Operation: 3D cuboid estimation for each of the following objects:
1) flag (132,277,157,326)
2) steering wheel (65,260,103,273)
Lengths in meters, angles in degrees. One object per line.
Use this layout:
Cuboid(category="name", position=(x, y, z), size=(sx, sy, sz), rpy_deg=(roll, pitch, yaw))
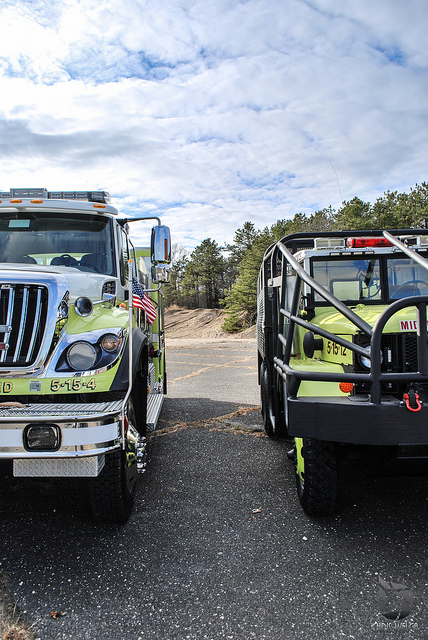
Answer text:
Cuboid(category="flag", position=(-0.832, -0.208, 5.450), size=(0.043, 0.431, 0.454), rpy_deg=(-16, 30, -40))
Cuboid(category="steering wheel", position=(-1.154, -0.482, 4.123), size=(0.304, 0.116, 0.078), rpy_deg=(-1, -1, -5))
